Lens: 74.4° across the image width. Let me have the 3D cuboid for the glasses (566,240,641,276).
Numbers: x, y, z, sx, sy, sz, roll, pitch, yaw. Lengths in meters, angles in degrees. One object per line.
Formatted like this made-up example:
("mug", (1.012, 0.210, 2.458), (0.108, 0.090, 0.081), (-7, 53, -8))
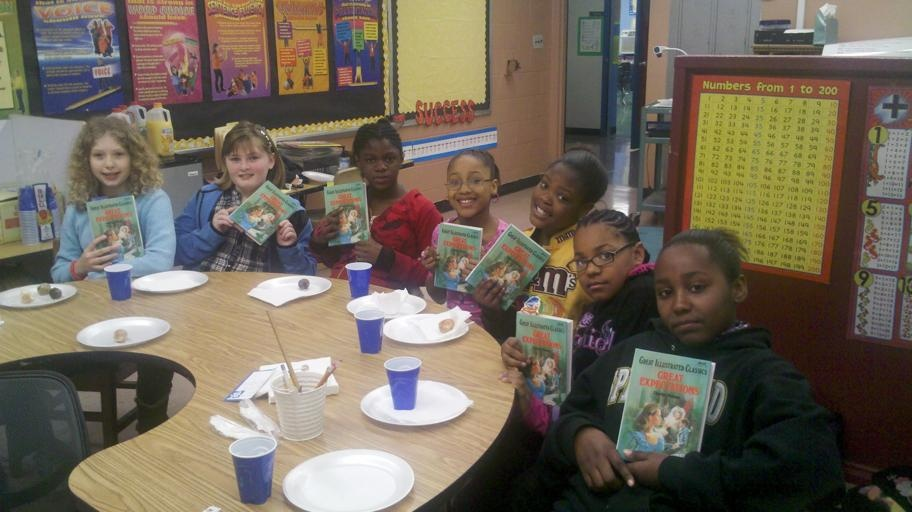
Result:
("glasses", (0.648, -0.019, 2.693), (0.177, 0.048, 0.176), (-28, 4, -35))

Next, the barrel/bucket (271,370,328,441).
("barrel/bucket", (-0.581, 0.547, 2.200), (0.205, 0.153, 0.211), (-5, -15, -1))

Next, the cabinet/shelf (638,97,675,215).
("cabinet/shelf", (2.419, -1.143, 7.033), (0.473, 1.058, 1.243), (-2, 13, 21))

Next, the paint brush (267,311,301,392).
("paint brush", (-0.711, 0.403, 2.475), (0.056, 0.071, 0.295), (-22, 48, -18))

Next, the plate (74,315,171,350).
("plate", (-1.464, 0.338, 2.631), (0.207, 0.019, 0.183), (2, 20, 1))

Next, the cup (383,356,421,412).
("cup", (-0.195, 0.471, 2.228), (0.197, 0.170, 0.179), (0, 0, 0))

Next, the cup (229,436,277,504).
("cup", (-0.650, 0.695, 1.956), (0.138, 0.181, 0.131), (-3, 20, 1))

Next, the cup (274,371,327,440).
("cup", (-0.607, 0.578, 2.207), (0.235, 0.173, 0.243), (-9, -13, -2))

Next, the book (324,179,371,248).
("book", (-0.569, -0.251, 3.435), (0.367, 0.324, 0.333), (-8, 14, 1))

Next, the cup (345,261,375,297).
("cup", (-0.481, 0.120, 2.977), (0.148, 0.136, 0.135), (0, 11, 0))
